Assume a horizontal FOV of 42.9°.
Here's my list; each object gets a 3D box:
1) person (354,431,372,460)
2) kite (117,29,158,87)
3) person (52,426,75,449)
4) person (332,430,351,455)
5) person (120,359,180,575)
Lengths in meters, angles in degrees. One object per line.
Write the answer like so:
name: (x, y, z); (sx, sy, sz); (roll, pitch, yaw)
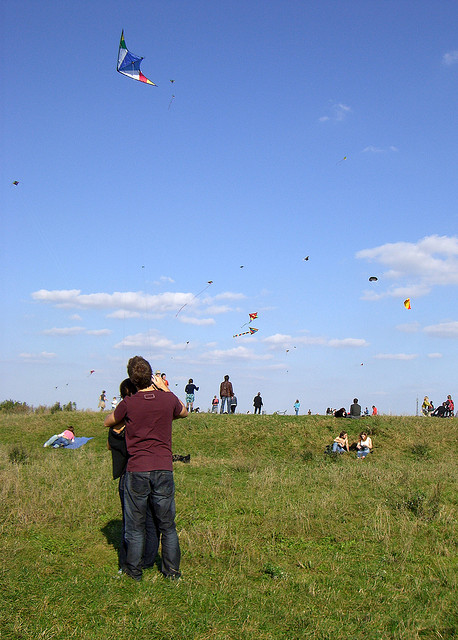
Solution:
person: (4.167, 3.963, 18.433); (0.386, 0.739, 0.778); (1, -3, 28)
kite: (-1.986, -5.779, 13.010); (1.036, 0.065, 1.136); (23, -33, -5)
person: (-4.941, 3.519, 17.416); (0.339, 0.298, 0.880); (1, 8, -1)
person: (3.569, 3.952, 18.787); (0.452, 0.651, 1.205); (1, -4, 29)
person: (-0.807, 1.661, 6.079); (0.628, 1.827, 0.312); (2, -3, -8)
